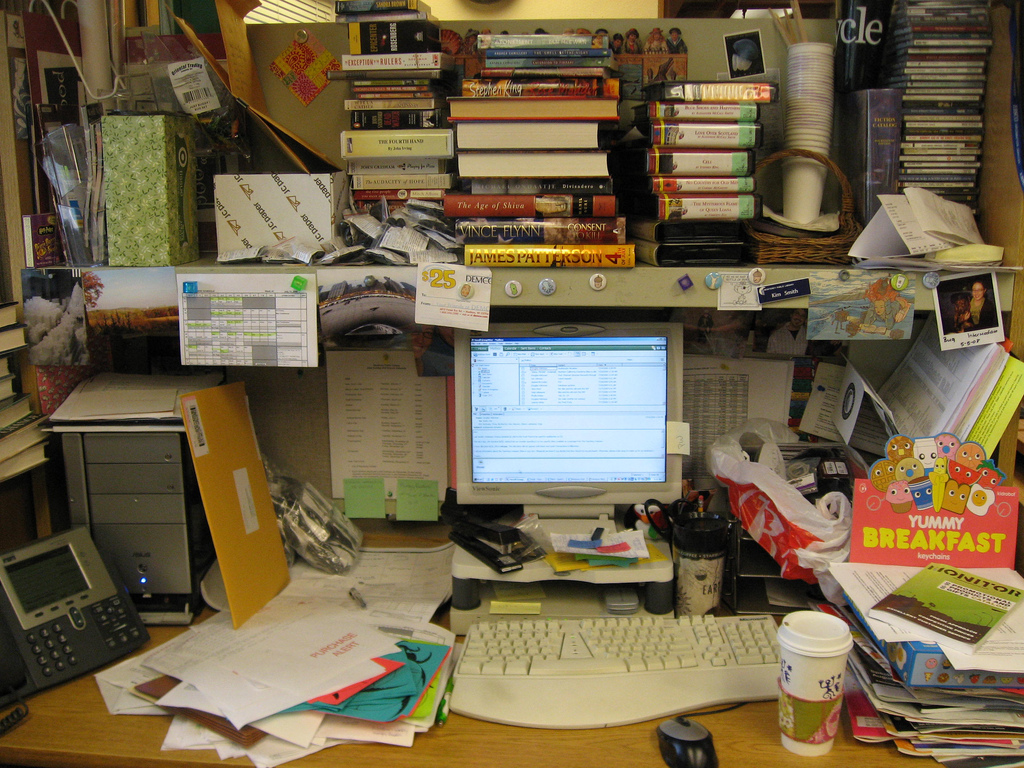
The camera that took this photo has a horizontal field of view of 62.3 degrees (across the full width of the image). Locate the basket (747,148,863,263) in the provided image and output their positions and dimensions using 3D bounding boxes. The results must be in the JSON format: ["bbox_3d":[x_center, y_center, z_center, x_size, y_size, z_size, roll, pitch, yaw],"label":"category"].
[{"bbox_3d":[0.529,-0.303,1.526,0.186,0.229,0.116,4,17,5],"label":"basket"}]

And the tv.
[{"bbox_3d":[0.113,0.057,1.612,0.435,0.337,0.078,-1,14,-1],"label":"tv"}]

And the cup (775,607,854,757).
[{"bbox_3d":[0.449,0.440,1.264,0.100,0.193,0.111,4,14,19],"label":"cup"}]

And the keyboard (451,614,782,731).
[{"bbox_3d":[0.177,0.465,1.398,0.549,0.061,0.261,-4,10,2],"label":"keyboard"}]

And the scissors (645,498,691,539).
[{"bbox_3d":[0.290,0.254,1.582,0.094,0.084,0.053,-4,2,7],"label":"scissors"}]

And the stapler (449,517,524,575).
[{"bbox_3d":[-0.047,0.278,1.513,0.052,0.068,0.188,-7,15,-37],"label":"stapler"}]
